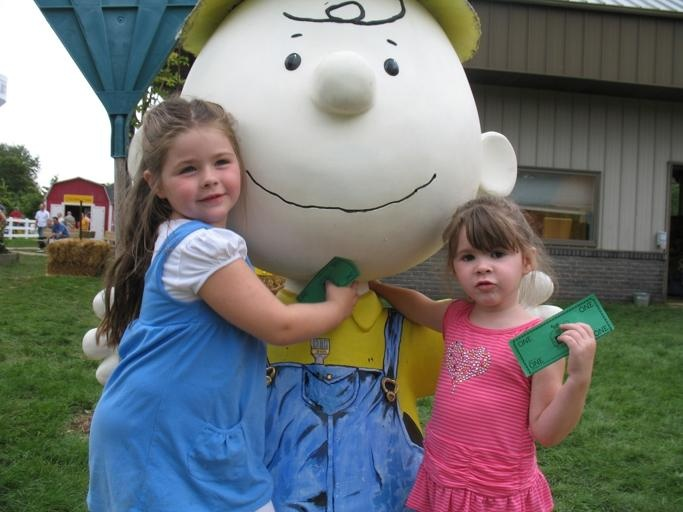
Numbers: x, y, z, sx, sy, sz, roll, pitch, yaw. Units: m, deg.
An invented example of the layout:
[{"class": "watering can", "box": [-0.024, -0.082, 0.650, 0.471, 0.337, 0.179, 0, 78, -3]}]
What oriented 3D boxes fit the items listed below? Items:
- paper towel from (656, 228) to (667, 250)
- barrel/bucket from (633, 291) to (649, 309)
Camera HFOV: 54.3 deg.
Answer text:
[{"class": "paper towel", "box": [5.001, -0.250, 10.431, 0.158, 0.312, 0.127, 5, 9, 30]}, {"class": "barrel/bucket", "box": [4.694, 0.669, 10.418, 0.178, 0.166, 0.200, 0, -2, 19]}]
